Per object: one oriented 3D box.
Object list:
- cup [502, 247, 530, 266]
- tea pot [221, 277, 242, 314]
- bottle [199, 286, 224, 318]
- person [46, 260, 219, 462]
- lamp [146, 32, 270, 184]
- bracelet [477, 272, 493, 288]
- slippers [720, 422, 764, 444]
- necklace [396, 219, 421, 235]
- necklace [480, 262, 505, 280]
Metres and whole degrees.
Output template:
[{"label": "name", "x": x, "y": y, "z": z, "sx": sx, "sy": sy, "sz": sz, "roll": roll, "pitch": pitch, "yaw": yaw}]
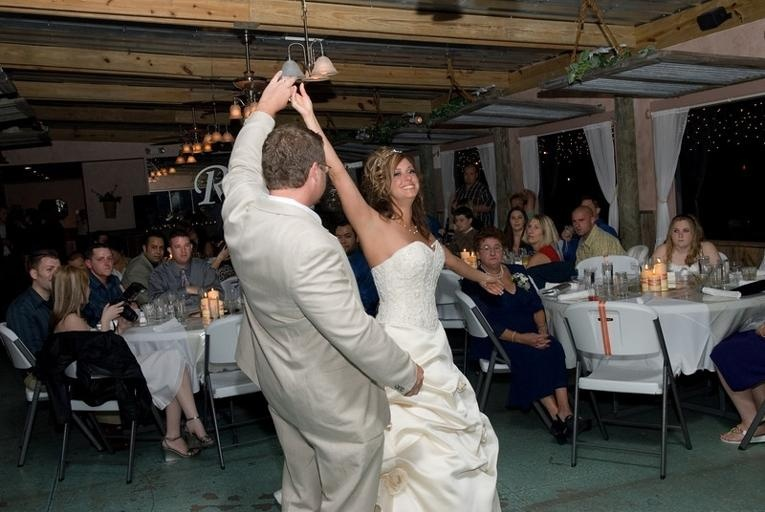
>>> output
[{"label": "cup", "x": 1.911, "y": 0.008, "z": 7.403, "sx": 0.342, "sy": 0.275, "sz": 0.354, "roll": 0, "pitch": -1, "yaw": 0}, {"label": "tea pot", "x": -1.616, "y": 0.431, "z": 5.600, "sx": 0.261, "sy": 0.371, "sz": 0.126, "roll": -5, "pitch": -7, "yaw": 37}, {"label": "bottle", "x": -1.653, "y": 0.448, "z": 5.132, "sx": 0.299, "sy": 0.356, "sz": 0.261, "roll": 0, "pitch": 1, "yaw": -13}, {"label": "person", "x": -2.147, "y": 0.825, "z": 4.591, "sx": 1.132, "sy": 1.737, "sz": 0.552, "roll": 5, "pitch": 26, "yaw": -3}, {"label": "lamp", "x": -2.813, "y": -2.477, "z": 8.222, "sx": 0.577, "sy": 1.469, "sz": 2.739, "roll": 9, "pitch": -35, "yaw": -41}, {"label": "bracelet", "x": 0.717, "y": 0.169, "z": 3.721, "sx": 0.125, "sy": 0.077, "sz": 0.035, "roll": 29, "pitch": -29, "yaw": 10}, {"label": "slippers", "x": 2.970, "y": 1.479, "z": 4.345, "sx": 0.321, "sy": 0.138, "sz": 0.160, "roll": -1, "pitch": -3, "yaw": 14}, {"label": "necklace", "x": 0.162, "y": -0.186, "z": 3.284, "sx": 0.107, "sy": 0.027, "sz": 0.087, "roll": 22, "pitch": -7, "yaw": 22}, {"label": "necklace", "x": 0.995, "y": 0.130, "z": 4.698, "sx": 0.138, "sy": 0.126, "sz": 0.110, "roll": -27, "pitch": -19, "yaw": 27}]
